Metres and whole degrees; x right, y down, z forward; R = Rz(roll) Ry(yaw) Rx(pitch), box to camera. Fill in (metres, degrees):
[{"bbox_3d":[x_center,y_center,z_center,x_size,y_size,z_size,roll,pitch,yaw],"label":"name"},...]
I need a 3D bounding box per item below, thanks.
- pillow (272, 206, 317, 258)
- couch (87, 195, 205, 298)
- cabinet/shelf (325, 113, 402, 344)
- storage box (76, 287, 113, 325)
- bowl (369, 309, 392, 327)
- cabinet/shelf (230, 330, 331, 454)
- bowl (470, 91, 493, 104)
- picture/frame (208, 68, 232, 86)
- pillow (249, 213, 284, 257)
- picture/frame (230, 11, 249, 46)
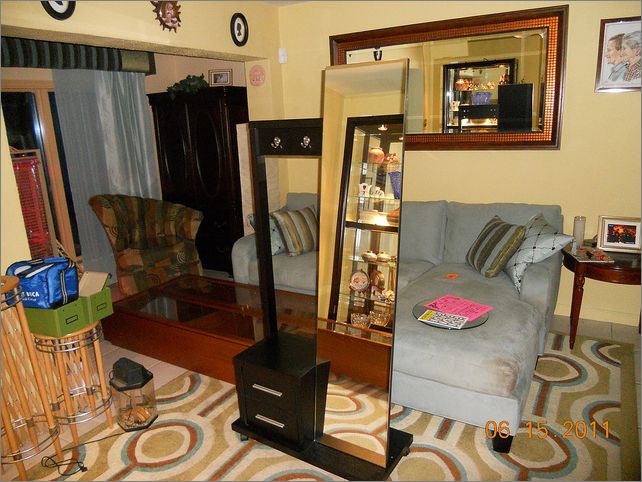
[{"bbox_3d":[-0.284,-0.101,4.734,0.434,0.434,0.130,-12,-11,-44],"label":"pillow"},{"bbox_3d":[-1.810,0.036,5.067,1.138,1.015,1.104,-2,7,-10],"label":"couch"},{"bbox_3d":[0.312,-0.099,2.842,0.379,1.280,0.157,4,-1,6],"label":"cabinet/shelf"},{"bbox_3d":[-1.526,0.428,3.194,0.171,0.205,0.223,2,11,21],"label":"storage box"},{"bbox_3d":[0.349,0.438,2.795,0.097,0.060,0.092,2,9,0],"label":"bowl"},{"bbox_3d":[-0.223,0.967,3.132,0.566,0.542,0.517,11,21,37],"label":"cabinet/shelf"},{"bbox_3d":[1.427,-1.280,4.275,0.122,0.081,0.123,-2,10,0],"label":"bowl"},{"bbox_3d":[-1.173,-1.929,5.622,0.274,0.172,0.149,-3,17,-7],"label":"picture/frame"},{"bbox_3d":[-0.585,-0.064,4.817,0.119,0.396,0.412,-18,1,20],"label":"pillow"},{"bbox_3d":[-0.778,-2.008,4.557,0.026,0.297,0.262,8,19,26],"label":"picture/frame"}]
